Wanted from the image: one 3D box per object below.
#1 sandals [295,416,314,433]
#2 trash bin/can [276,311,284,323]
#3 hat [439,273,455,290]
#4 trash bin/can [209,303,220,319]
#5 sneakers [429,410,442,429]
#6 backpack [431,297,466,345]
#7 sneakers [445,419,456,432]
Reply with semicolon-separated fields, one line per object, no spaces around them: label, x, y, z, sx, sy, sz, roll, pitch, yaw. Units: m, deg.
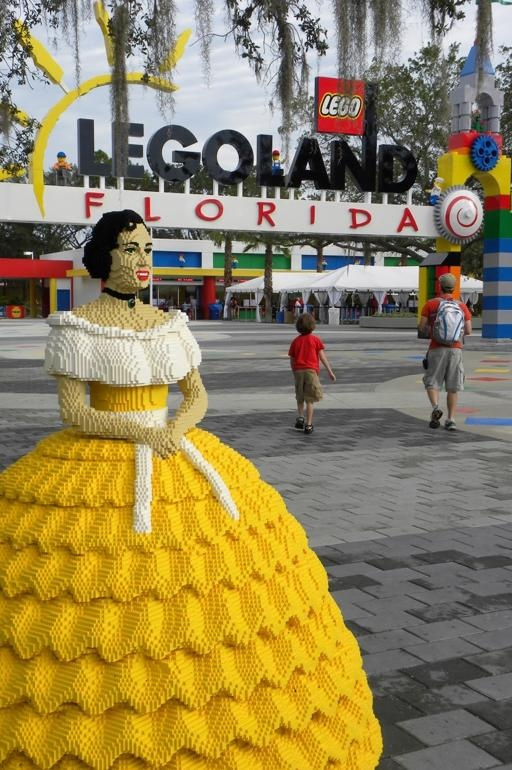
sandals;0.559;0.473;8.554;0.174;0.212;0.489;1;2;2
trash bin/can;1.581;-4.255;48.150;0.637;0.744;0.654;0;2;27
hat;2.140;-1.111;8.344;0.170;0.191;0.454;1;6;13
trash bin/can;-2.951;-5.249;54.834;0.996;1.308;0.982;0;-1;-7
sneakers;2.044;0.418;8.469;0.109;0.287;0.122;7;28;7
backpack;2.155;-0.669;8.292;0.369;0.525;0.302;0;5;3
sneakers;2.198;0.474;8.426;0.070;0.093;0.198;-1;-1;-4
